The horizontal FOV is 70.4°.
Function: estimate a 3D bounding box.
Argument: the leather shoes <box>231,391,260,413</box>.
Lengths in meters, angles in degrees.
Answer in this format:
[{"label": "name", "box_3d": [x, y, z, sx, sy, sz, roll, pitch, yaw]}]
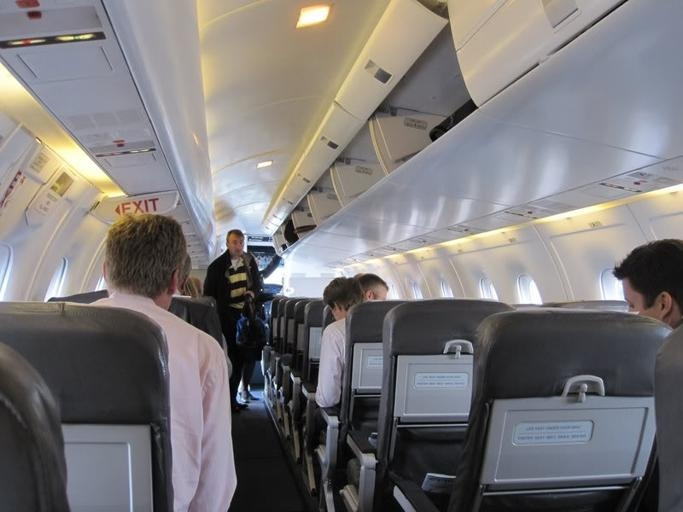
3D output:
[{"label": "leather shoes", "box_3d": [-1.450, 2.141, 7.119, 0.175, 0.235, 0.556, -1, -1, 25]}]
